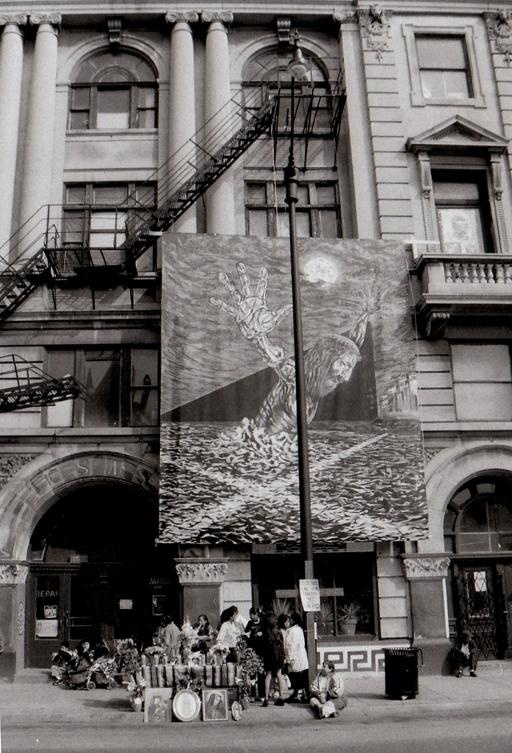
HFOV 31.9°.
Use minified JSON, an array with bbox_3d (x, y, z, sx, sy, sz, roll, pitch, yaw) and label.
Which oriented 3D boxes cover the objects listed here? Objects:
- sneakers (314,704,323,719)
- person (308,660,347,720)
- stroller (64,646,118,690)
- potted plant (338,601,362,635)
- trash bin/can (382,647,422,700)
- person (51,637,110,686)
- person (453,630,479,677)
[{"bbox_3d":[0.999,5.272,14.168,0.088,0.225,0.072,0,12,-28],"label":"sneakers"},{"bbox_3d":[1.152,5.077,14.651,0.551,0.850,1.091,-5,-18,6],"label":"person"},{"bbox_3d":[-3.300,5.940,18.123,0.921,0.987,0.509,-1,-33,12],"label":"stroller"},{"bbox_3d":[2.065,5.511,20.401,0.550,0.588,0.523,5,-23,-8],"label":"potted plant"},{"bbox_3d":[2.579,5.249,15.946,0.592,0.875,0.544,-4,-18,5],"label":"trash bin/can"},{"bbox_3d":[-3.478,5.906,18.544,1.080,0.574,1.121,-1,9,4],"label":"person"},{"bbox_3d":[4.533,6.017,19.522,0.504,0.942,0.487,-6,-18,11],"label":"person"}]
